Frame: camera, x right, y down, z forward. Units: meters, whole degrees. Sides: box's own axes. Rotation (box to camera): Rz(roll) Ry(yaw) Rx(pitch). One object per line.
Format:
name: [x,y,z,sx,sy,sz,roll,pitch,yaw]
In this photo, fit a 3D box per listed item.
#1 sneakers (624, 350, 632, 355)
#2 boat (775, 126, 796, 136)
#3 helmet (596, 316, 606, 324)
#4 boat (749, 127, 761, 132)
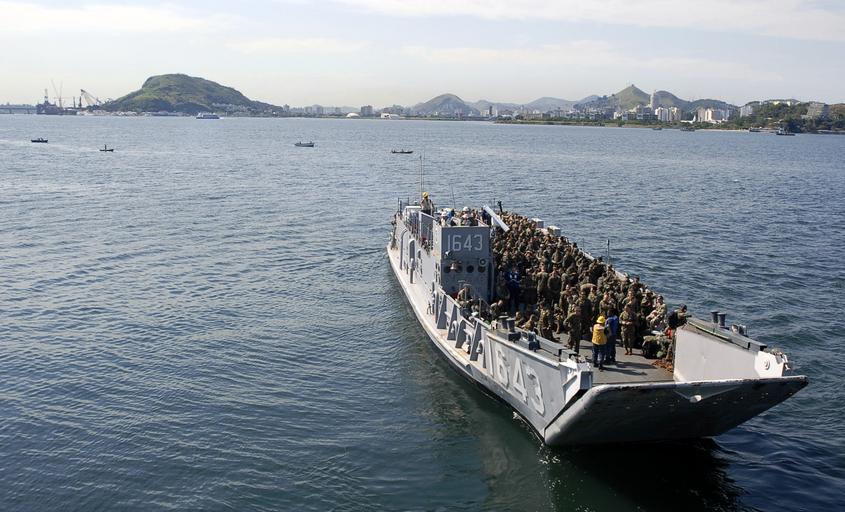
sneakers: [10.414,4.859,35.756,0.179,0.171,0.474,-2,0,8]
boat: [143.337,-50.203,280.239,6.648,3.739,11.318,2,5,30]
helmet: [8.701,3.106,34.510,0.286,0.421,0.680,7,15,24]
boat: [143.582,-54.589,305.125,3.799,2.093,5.524,2,14,8]
